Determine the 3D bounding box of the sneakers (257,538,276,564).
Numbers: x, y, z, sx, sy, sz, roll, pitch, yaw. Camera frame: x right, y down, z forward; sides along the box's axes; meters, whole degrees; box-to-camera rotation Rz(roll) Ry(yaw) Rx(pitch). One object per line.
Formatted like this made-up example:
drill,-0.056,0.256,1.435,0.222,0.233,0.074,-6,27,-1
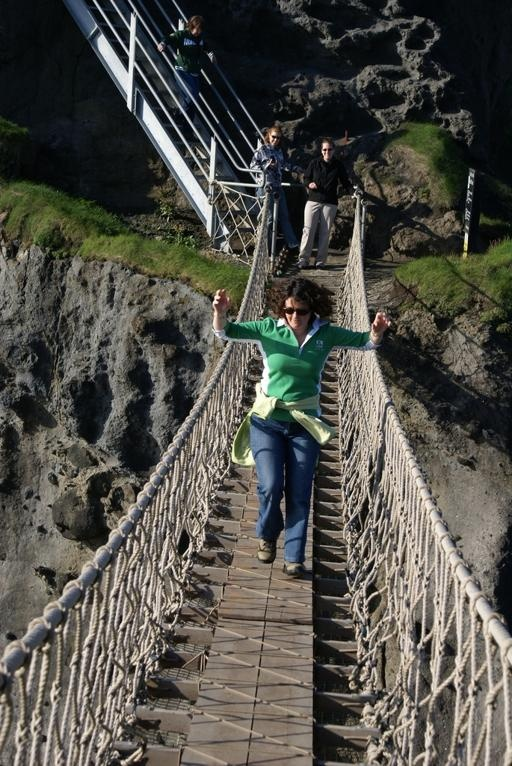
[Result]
sneakers,0.049,0.700,4.076,0.046,0.060,0.139,6,28,-6

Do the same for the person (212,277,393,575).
person,0.177,0.168,4.057,0.704,1.157,0.518,1,17,0
